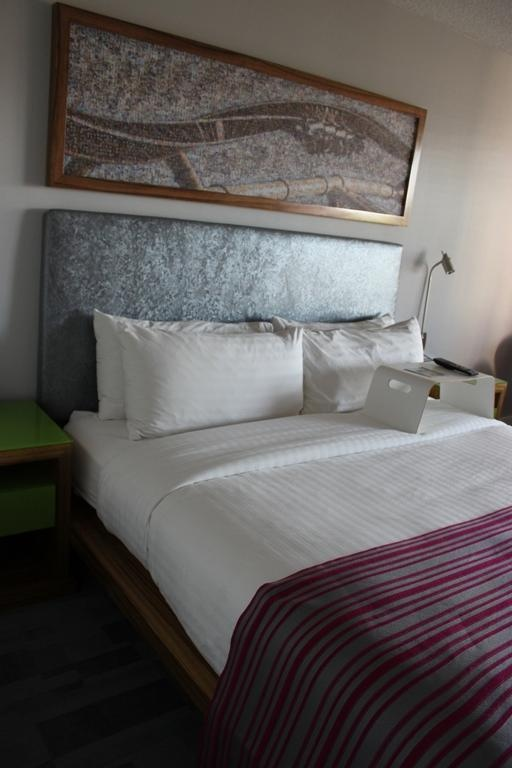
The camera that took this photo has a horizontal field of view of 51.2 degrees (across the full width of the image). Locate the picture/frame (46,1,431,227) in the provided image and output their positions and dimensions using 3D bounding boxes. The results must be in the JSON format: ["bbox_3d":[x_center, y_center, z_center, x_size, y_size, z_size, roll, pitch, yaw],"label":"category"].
[{"bbox_3d":[0.033,-1.076,2.321,1.829,0.733,0.072,-4,16,-40],"label":"picture/frame"}]
